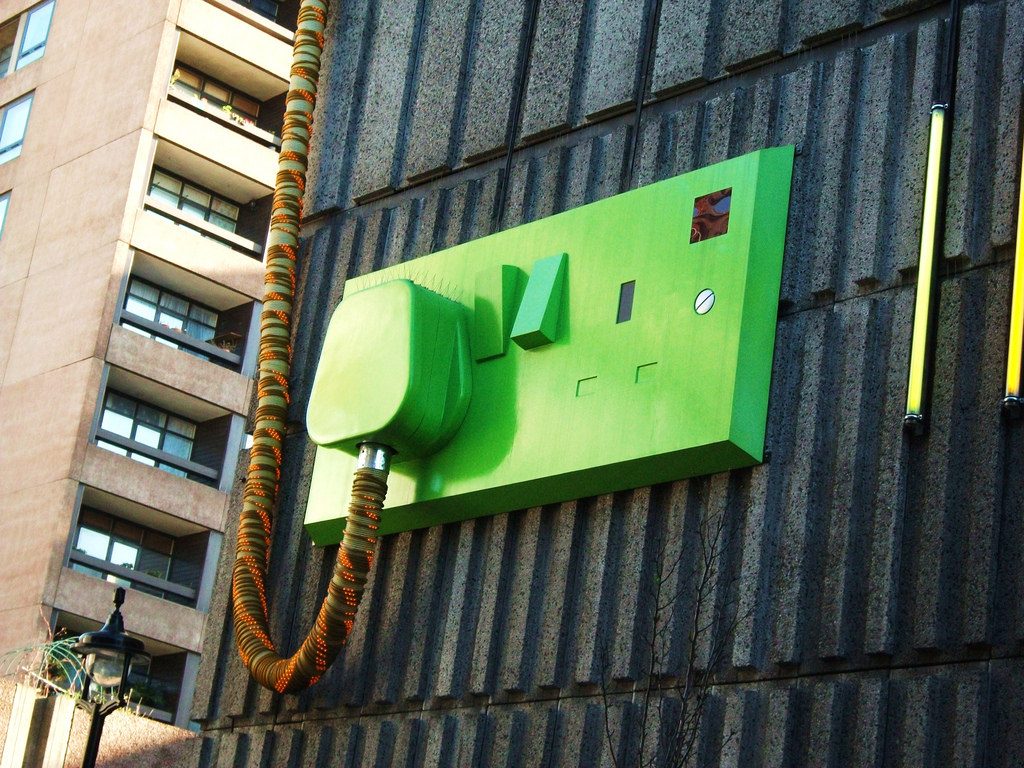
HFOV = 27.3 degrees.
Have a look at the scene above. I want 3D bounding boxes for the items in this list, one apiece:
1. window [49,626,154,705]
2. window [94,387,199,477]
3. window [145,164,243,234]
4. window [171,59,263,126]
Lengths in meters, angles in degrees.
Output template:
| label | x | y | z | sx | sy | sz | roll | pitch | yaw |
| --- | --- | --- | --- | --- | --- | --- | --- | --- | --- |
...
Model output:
| label | x | y | z | sx | sy | sz | roll | pitch | yaw |
| --- | --- | --- | --- | --- | --- | --- | --- | --- | --- |
| window | -4.939 | 3.285 | 24.399 | 1.210 | 0.373 | 1.242 | 25 | -14 | 32 |
| window | -6.153 | 0.779 | 34.764 | 0.108 | 0.789 | 1.390 | -32 | -42 | 29 |
| window | -5.659 | -3.239 | 36.659 | 1.268 | 0.735 | 0.064 | 27 | -48 | -33 |
| window | -5.334 | -5.180 | 37.259 | 1.320 | 0.638 | 0.049 | 29 | -47 | -33 |
